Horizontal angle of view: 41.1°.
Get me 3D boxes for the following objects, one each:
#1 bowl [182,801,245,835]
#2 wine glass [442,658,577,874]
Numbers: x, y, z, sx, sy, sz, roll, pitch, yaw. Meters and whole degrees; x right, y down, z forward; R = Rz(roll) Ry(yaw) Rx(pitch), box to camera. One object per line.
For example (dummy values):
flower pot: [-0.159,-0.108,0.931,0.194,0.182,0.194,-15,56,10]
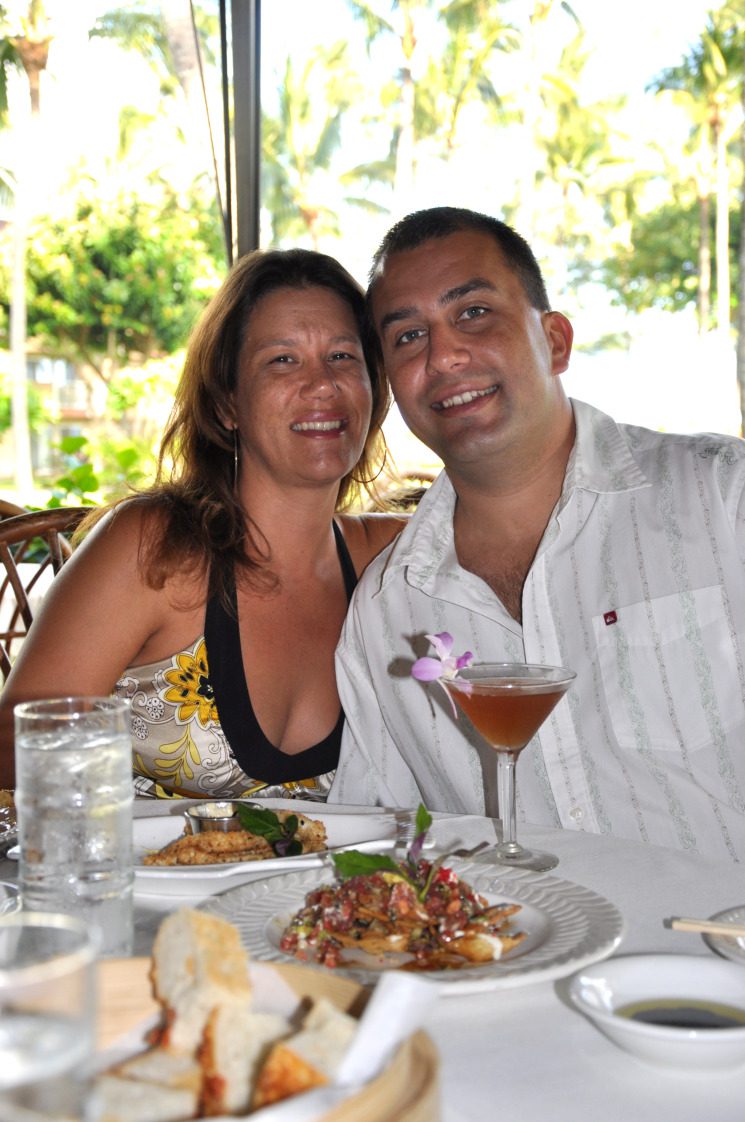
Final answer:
bowl: [-0.254,0.396,1.526,0.064,0.041,0.060,1,-3,0]
wine glass: [0.217,0.319,1.502,0.241,0.257,0.223,10,-14,-8]
